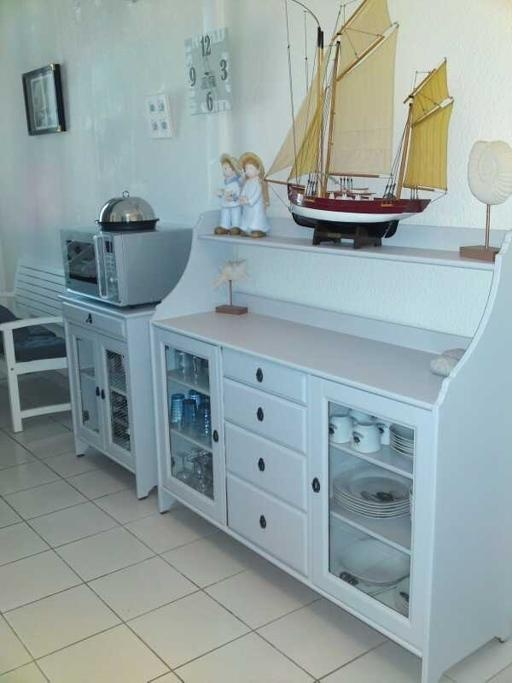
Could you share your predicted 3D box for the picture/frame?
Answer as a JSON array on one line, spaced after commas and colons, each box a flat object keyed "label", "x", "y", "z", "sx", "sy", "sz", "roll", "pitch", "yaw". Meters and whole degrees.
[{"label": "picture/frame", "x": -1.532, "y": -1.725, "z": 4.123, "sx": 0.066, "sy": 0.475, "sz": 0.649, "roll": -11, "pitch": 15, "yaw": -38}]

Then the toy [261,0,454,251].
[{"label": "toy", "x": 0.311, "y": -0.653, "z": 1.728, "sx": 0.329, "sy": 0.734, "sz": 0.613, "roll": -7, "pitch": 13, "yaw": -26}]

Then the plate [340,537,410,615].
[{"label": "plate", "x": 0.328, "y": 0.613, "z": 1.544, "sx": 0.069, "sy": 0.162, "sz": 0.275, "roll": -9, "pitch": 13, "yaw": -32}]

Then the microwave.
[{"label": "microwave", "x": -0.623, "y": -0.366, "z": 2.723, "sx": 0.395, "sy": 0.332, "sz": 0.601, "roll": -14, "pitch": 19, "yaw": -42}]

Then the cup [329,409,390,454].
[{"label": "cup", "x": 0.276, "y": 0.235, "z": 1.526, "sx": 0.086, "sy": 0.070, "sz": 0.146, "roll": -11, "pitch": 15, "yaw": -35}]

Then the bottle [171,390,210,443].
[{"label": "bottle", "x": -0.250, "y": 0.290, "z": 2.240, "sx": 0.086, "sy": 0.177, "sz": 0.196, "roll": -12, "pitch": 20, "yaw": -38}]
